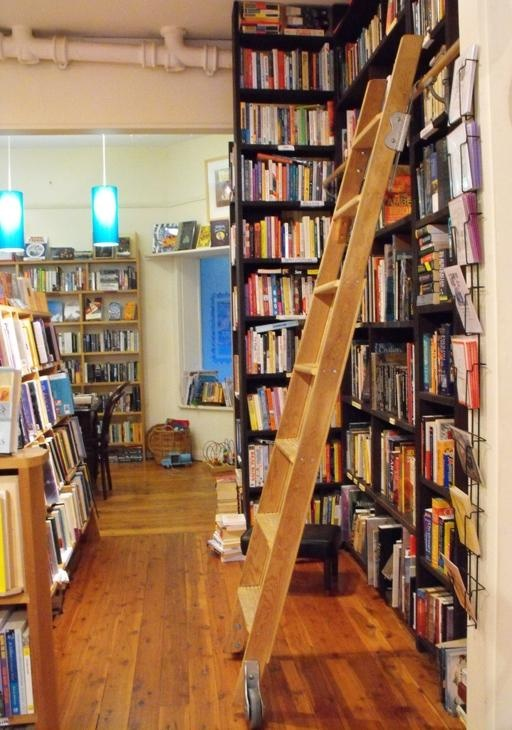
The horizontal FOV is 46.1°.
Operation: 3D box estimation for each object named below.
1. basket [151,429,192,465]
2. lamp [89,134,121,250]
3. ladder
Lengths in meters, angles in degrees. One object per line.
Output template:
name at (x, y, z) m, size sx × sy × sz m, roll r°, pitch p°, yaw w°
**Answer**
basket at (-0.977, 0.871, 6.784) m, size 0.330 × 0.350 × 0.412 m, roll 1°, pitch 4°, yaw 2°
lamp at (-1.529, -1.786, 6.109) m, size 0.282 × 1.083 × 1.978 m, roll -2°, pitch 0°, yaw -14°
ladder at (0.231, 0.098, 2.058) m, size 0.626 × 1.695 × 0.692 m, roll -2°, pitch 1°, yaw -1°
